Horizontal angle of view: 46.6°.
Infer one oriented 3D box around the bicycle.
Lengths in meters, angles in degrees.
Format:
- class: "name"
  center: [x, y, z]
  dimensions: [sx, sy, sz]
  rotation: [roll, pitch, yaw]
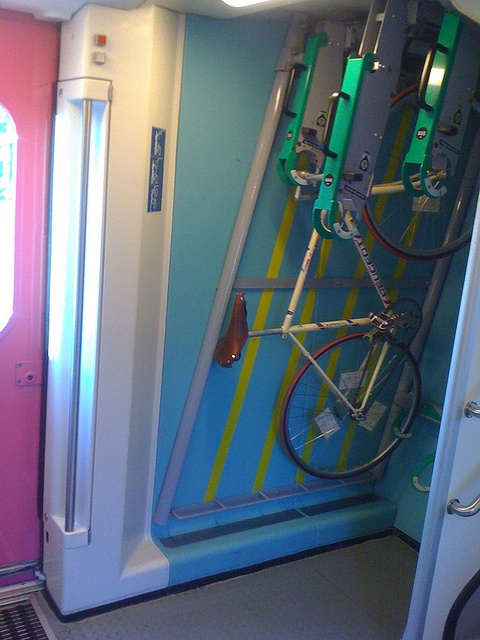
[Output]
- class: "bicycle"
  center: [0.499, -0.225, 2.769]
  dimensions: [1.162, 2.145, 0.456]
  rotation: [10, -4, -26]
